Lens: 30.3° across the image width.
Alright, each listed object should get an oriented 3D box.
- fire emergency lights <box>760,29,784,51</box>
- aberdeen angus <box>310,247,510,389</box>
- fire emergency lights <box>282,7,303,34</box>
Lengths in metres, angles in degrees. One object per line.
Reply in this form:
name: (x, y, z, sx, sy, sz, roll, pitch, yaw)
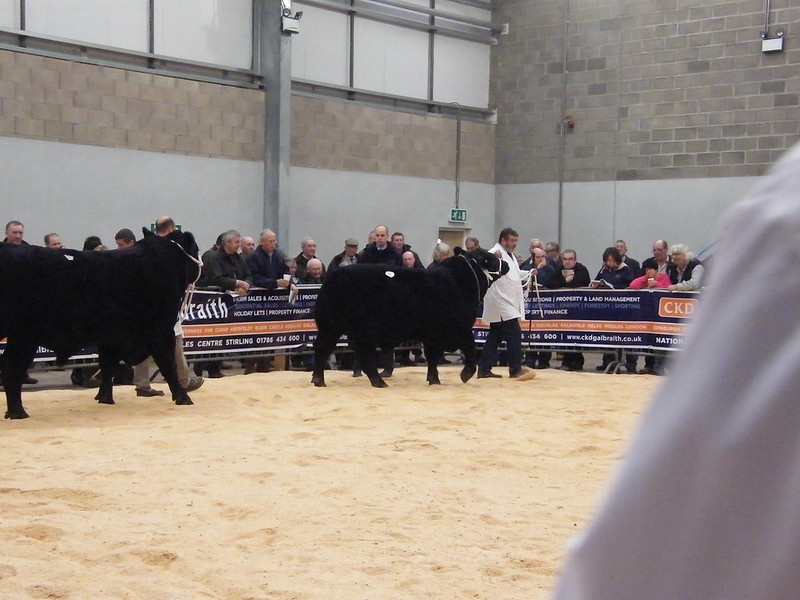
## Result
fire emergency lights: (6.826, -4.767, 27.148, 0.426, 0.386, 0.167, 1, -6, 40)
aberdeen angus: (0.193, 0.261, 20.983, 2.953, 1.971, 1.142, 0, -2, -19)
fire emergency lights: (-1.977, -5.009, 26.679, 0.344, 0.438, 0.481, 1, 3, -3)
